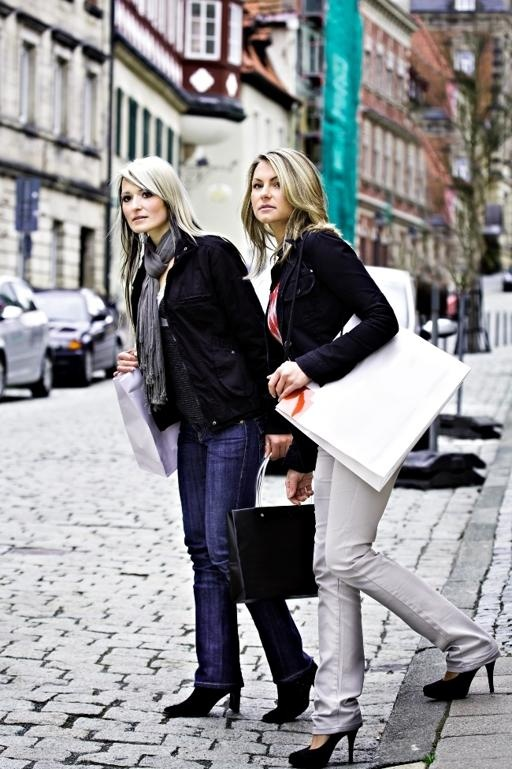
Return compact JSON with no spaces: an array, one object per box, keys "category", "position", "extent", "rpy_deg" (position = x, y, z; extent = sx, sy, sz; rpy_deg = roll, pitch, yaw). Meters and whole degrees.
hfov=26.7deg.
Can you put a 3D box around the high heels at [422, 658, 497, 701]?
[{"category":"high heels","position":[0.564,0.821,3.024],"extent":[0.236,0.158,0.085],"rpy_deg":[-1,2,7]}]

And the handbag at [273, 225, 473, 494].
[{"category":"handbag","position":[0.211,-0.071,2.776],"extent":[0.443,0.660,0.544],"rpy_deg":[-2,2,-38]}]

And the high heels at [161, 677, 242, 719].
[{"category":"high heels","position":[-0.155,0.927,3.178],"extent":[0.270,0.132,0.087],"rpy_deg":[3,-4,-6]}]
